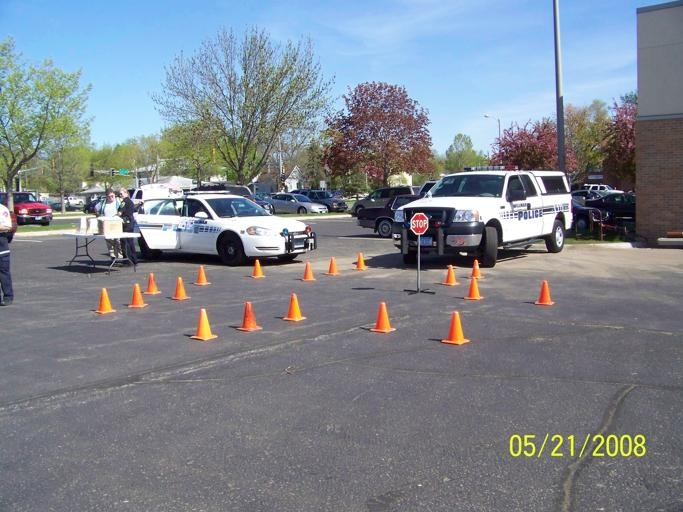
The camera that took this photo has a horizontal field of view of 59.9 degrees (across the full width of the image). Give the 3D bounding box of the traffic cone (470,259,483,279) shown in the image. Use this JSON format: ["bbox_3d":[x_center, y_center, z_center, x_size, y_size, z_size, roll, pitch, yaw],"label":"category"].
[{"bbox_3d":[3.206,0.334,14.067,0.334,0.532,0.367,-2,-1,-3],"label":"traffic cone"}]

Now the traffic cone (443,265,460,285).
[{"bbox_3d":[2.393,0.441,12.967,0.345,0.543,0.385,-1,-1,10],"label":"traffic cone"}]

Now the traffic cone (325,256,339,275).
[{"bbox_3d":[-0.232,0.262,14.774,0.318,0.504,0.332,2,8,25],"label":"traffic cone"}]

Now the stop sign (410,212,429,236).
[{"bbox_3d":[1.567,-0.616,12.022,0.302,0.453,0.436,2,7,26],"label":"stop sign"}]

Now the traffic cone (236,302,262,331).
[{"bbox_3d":[-1.506,0.944,9.248,0.351,0.550,0.388,0,0,19],"label":"traffic cone"}]

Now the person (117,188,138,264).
[{"bbox_3d":[-5.894,-0.806,16.342,0.433,1.959,1.478,-3,7,-20],"label":"person"}]

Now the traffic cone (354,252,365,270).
[{"bbox_3d":[0.503,0.176,15.727,0.344,0.470,0.311,-6,9,-43],"label":"traffic cone"}]

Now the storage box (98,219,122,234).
[{"bbox_3d":[-5.831,-0.724,14.891,0.552,0.383,0.394,-3,7,-16],"label":"storage box"}]

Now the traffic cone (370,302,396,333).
[{"bbox_3d":[0.611,0.924,9.105,0.371,0.529,0.364,-2,3,-43],"label":"traffic cone"}]

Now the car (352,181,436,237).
[{"bbox_3d":[2.220,-1.932,24.895,3.084,1.454,1.945,0,9,19],"label":"car"}]

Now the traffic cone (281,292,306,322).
[{"bbox_3d":[-0.776,0.845,9.865,0.353,0.539,0.378,1,5,31],"label":"traffic cone"}]

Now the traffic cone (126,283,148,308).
[{"bbox_3d":[-3.835,0.749,11.117,0.373,0.605,0.410,0,-1,1],"label":"traffic cone"}]

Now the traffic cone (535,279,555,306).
[{"bbox_3d":[3.752,0.642,10.780,0.410,0.647,0.439,0,1,28],"label":"traffic cone"}]

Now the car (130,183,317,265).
[{"bbox_3d":[-3.395,-0.754,16.806,5.054,1.860,1.250,2,7,23],"label":"car"}]

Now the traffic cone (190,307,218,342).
[{"bbox_3d":[-2.022,1.010,8.827,0.364,0.513,0.383,1,4,25],"label":"traffic cone"}]

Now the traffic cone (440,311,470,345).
[{"bbox_3d":[1.595,1.034,8.461,0.370,0.502,0.382,2,2,45],"label":"traffic cone"}]

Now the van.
[{"bbox_3d":[4.079,-1.107,16.402,2.511,2.137,4.788,-1,-1,37],"label":"van"}]
